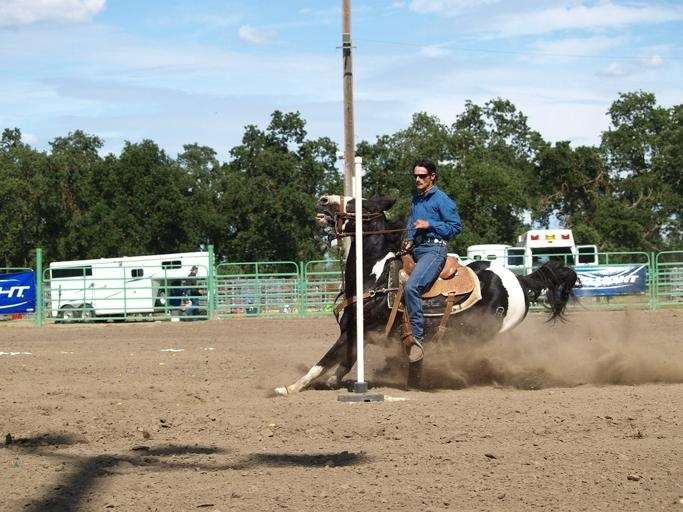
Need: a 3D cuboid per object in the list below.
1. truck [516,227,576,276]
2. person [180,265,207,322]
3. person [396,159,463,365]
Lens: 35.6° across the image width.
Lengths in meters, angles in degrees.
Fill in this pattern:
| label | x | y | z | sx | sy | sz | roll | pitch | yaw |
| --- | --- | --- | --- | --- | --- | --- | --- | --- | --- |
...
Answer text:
| label | x | y | z | sx | sy | sz | roll | pitch | yaw |
| --- | --- | --- | --- | --- | --- | --- | --- | --- | --- |
| truck | 5.669 | -0.164 | 29.374 | 1.536 | 1.230 | 2.231 | 0 | 1 | 2 |
| person | -4.030 | 0.956 | 28.736 | 0.677 | 1.395 | 1.240 | -2 | 0 | -8 |
| person | 1.281 | 0.052 | 15.302 | 0.791 | 2.870 | 0.431 | -2 | 0 | 4 |
